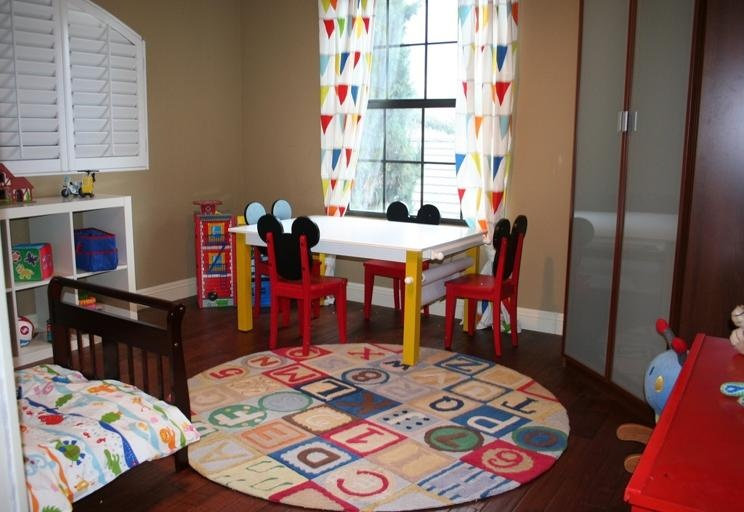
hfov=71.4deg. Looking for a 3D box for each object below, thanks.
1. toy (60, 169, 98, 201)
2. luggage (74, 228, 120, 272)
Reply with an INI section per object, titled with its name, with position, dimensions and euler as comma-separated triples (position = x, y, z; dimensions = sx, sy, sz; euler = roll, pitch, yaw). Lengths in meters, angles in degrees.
[toy]
position = -2.338, -0.590, 4.198
dimensions = 0.375, 0.242, 0.204
euler = 3, 3, 18
[luggage]
position = -2.229, -0.038, 4.199
dimensions = 0.305, 0.310, 0.315
euler = 5, 11, 4
